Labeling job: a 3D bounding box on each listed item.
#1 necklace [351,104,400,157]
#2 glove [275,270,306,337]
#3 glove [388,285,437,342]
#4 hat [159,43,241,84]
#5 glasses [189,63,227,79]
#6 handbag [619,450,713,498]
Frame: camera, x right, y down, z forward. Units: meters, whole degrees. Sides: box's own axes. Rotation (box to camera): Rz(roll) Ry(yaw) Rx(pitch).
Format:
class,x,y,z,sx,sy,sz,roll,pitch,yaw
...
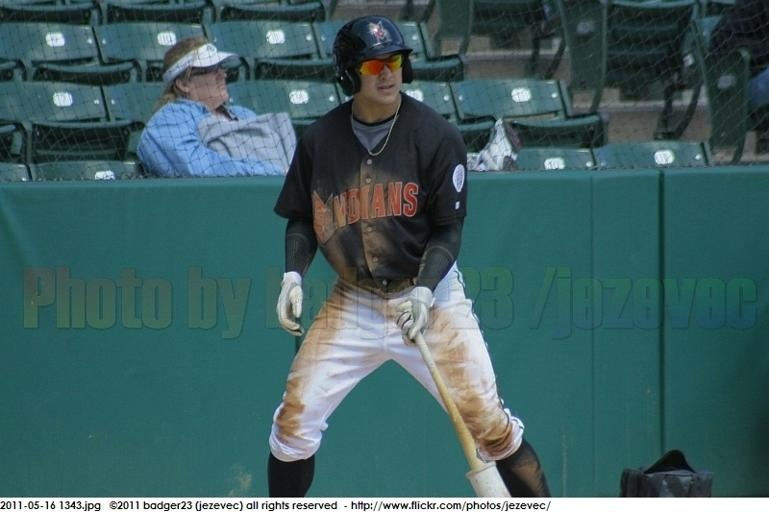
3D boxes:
class,x,y,z,sx,sy,sz,roll,pitch,yaw
necklace,-0.065,-0.648,8.442,0.247,0.218,0.049,-2,7,-1
glove,-0.483,0.276,8.454,0.201,0.326,0.140,-18,-32,39
glove,0.149,0.303,8.313,0.130,0.269,0.224,23,-18,-15
hat,-1.102,-1.137,9.256,0.377,0.134,0.233,-22,4,11
glasses,-1.057,-1.082,9.231,0.164,0.039,0.086,-11,7,5
handbag,1.514,1.202,8.629,0.279,0.192,0.366,1,-9,-13
